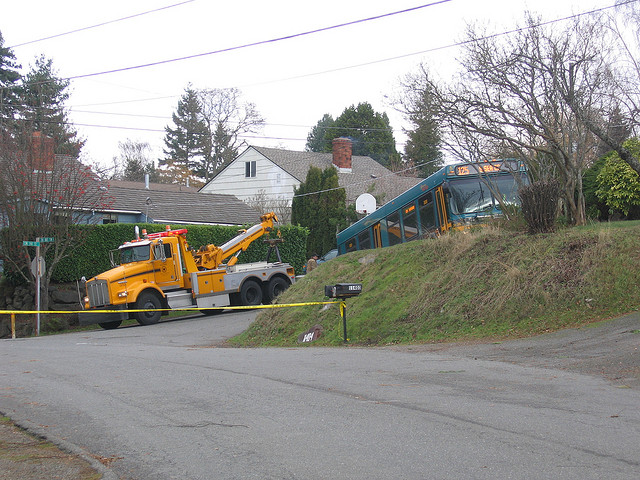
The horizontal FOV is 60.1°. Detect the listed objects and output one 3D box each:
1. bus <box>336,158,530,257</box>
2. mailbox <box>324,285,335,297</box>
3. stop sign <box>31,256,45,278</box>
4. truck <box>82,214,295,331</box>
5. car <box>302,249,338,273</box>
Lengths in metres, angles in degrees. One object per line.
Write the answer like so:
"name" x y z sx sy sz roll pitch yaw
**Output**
"bus" 4.800 -0.417 25.342 2.852 3.453 11.997 -6 -8 -14
"mailbox" 0.235 1.368 14.924 0.240 0.329 0.205 4 -7 -30
"stop sign" -11.761 1.081 23.166 0.513 0.698 0.708 -1 -1 -32
"truck" -5.933 1.271 27.386 3.389 4.767 10.813 -5 -2 38
"car" 0.248 1.062 28.009 1.089 0.735 1.881 -2 0 -38
